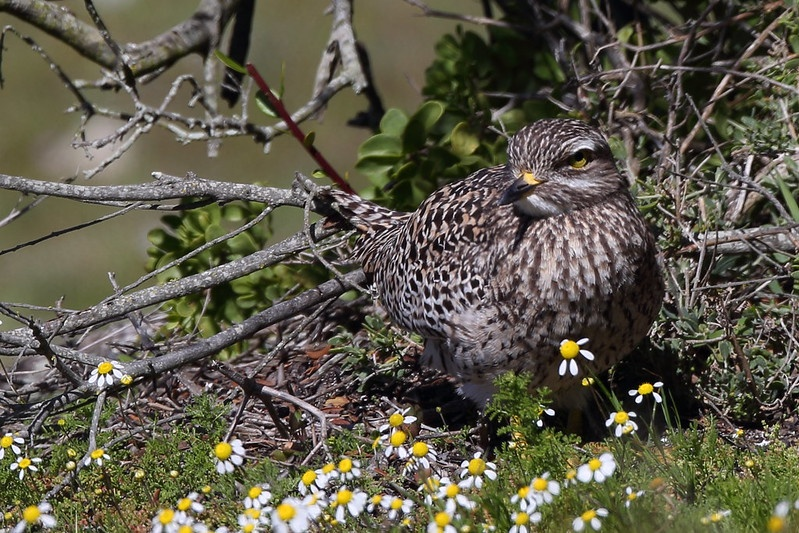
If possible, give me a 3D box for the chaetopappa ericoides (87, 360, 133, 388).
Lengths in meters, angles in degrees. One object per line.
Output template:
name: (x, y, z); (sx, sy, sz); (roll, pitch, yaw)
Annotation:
chaetopappa ericoides: (-1.510, 0.569, 4.478); (0.164, 0.172, 0.052); (1, -49, 16)
